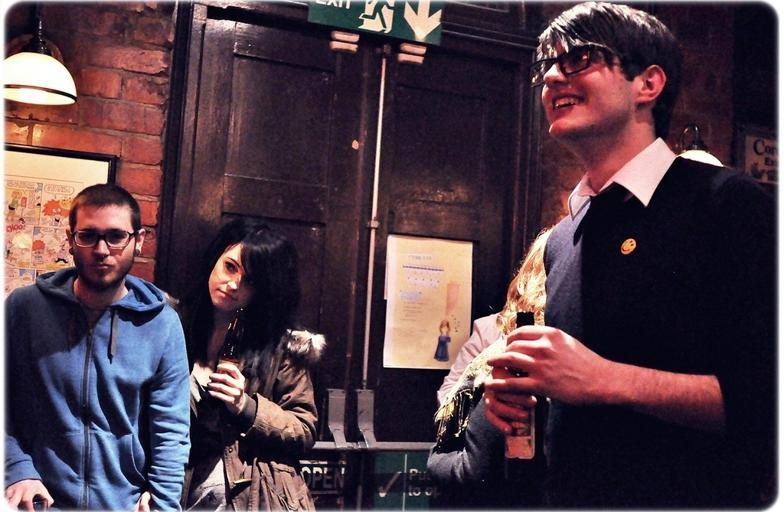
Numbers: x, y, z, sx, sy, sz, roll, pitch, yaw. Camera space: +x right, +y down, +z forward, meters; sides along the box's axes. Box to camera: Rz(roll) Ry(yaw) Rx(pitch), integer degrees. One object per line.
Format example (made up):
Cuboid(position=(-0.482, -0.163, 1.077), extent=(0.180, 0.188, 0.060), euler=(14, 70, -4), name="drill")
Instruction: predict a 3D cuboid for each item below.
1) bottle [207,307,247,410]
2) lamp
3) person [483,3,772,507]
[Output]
Cuboid(position=(-0.802, 0.497, 3.613), extent=(0.189, 0.499, 0.124), euler=(4, -4, -12), name="bottle")
Cuboid(position=(-1.515, -0.903, 3.442), extent=(0.417, 0.439, 0.421), euler=(0, 0, -9), name="lamp")
Cuboid(position=(0.728, -0.018, 2.243), extent=(0.773, 1.592, 0.420), euler=(1, -5, 26), name="person")
